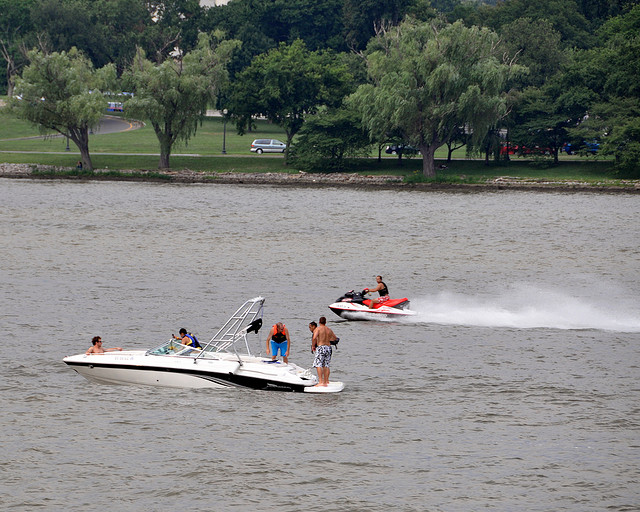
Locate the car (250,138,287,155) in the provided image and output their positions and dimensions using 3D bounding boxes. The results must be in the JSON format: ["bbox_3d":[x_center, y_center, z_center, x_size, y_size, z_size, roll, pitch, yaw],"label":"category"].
[{"bbox_3d":[-5.765,-12.867,192.918,4.616,1.417,1.782,-1,10,1],"label":"car"}]

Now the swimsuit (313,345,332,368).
[{"bbox_3d":[0.280,6.969,116.591,1.568,1.605,0.938,9,7,-6],"label":"swimsuit"}]

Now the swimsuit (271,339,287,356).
[{"bbox_3d":[-2.737,6.376,117.105,0.987,1.188,0.448,13,38,11],"label":"swimsuit"}]

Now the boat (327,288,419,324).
[{"bbox_3d":[4.077,3.701,125.114,6.501,2.288,2.642,2,-2,6],"label":"boat"}]

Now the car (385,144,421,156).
[{"bbox_3d":[9.545,-12.195,190.333,3.821,1.133,1.658,0,11,6],"label":"car"}]

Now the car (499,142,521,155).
[{"bbox_3d":[21.080,-12.290,185.401,1.498,1.009,2.212,1,-3,7],"label":"car"}]
